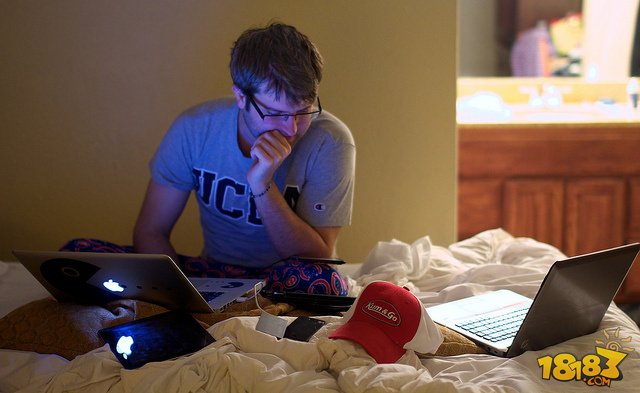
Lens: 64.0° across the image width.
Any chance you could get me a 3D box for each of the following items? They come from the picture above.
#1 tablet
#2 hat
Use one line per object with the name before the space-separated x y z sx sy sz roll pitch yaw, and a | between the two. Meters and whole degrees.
tablet | -0.619 0.528 1.899 0.407 0.068 0.377 3 24 -24
hat | 0.240 0.417 1.977 0.433 0.235 0.457 2 9 -34
